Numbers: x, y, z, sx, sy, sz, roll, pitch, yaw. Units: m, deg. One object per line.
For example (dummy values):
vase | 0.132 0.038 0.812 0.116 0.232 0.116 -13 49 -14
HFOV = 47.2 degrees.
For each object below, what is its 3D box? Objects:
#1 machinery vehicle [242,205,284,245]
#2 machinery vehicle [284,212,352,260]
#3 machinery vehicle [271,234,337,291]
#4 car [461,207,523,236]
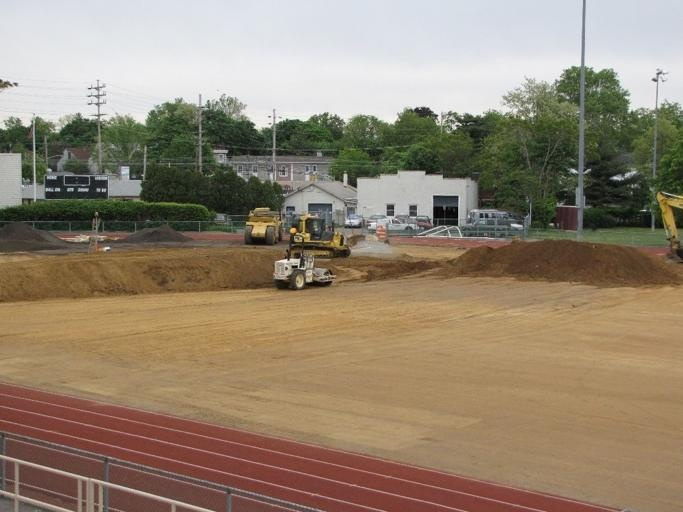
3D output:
machinery vehicle | -4.396 -1.633 43.788 2.053 1.958 2.276 0 6 -8
machinery vehicle | -0.749 -0.675 27.983 2.127 1.258 1.510 4 10 14
machinery vehicle | -1.250 0.236 25.920 1.547 1.537 2.740 9 7 29
car | 10.535 -2.226 54.254 3.959 1.566 2.934 2 3 8
